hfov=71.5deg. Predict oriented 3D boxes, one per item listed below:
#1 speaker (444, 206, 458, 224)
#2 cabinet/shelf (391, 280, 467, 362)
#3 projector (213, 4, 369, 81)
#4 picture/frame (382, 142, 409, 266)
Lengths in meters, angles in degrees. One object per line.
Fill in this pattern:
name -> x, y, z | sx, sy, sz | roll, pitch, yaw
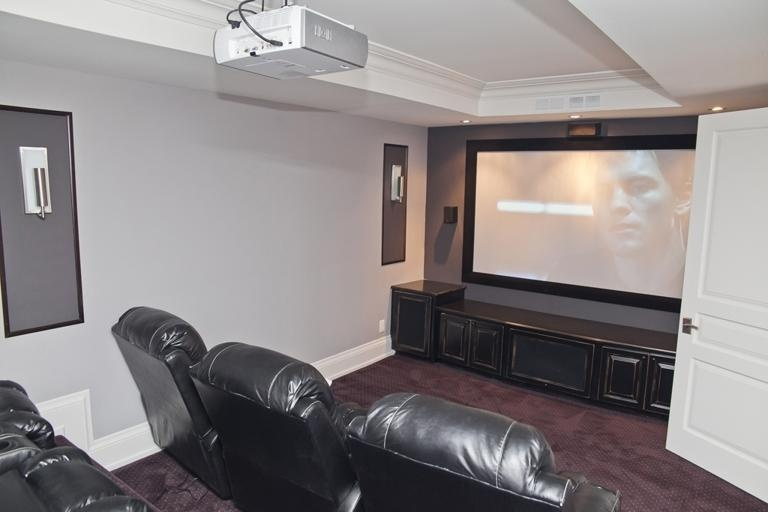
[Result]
speaker -> 0.840, -0.518, 6.714 | 0.181, 0.213, 0.112 | 3, 11, 3
cabinet/shelf -> 0.437, 0.804, 6.959 | 0.905, 1.158, 0.876 | -3, 7, -44
projector -> -0.494, -1.163, 3.093 | 0.564, 0.208, 0.577 | 5, 5, 36
picture/frame -> 0.134, -0.570, 6.588 | 0.030, 1.545, 0.551 | -5, 12, -31
